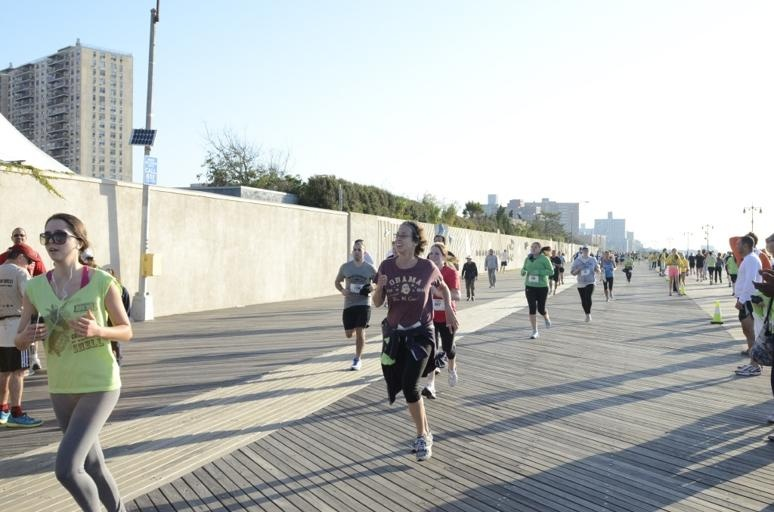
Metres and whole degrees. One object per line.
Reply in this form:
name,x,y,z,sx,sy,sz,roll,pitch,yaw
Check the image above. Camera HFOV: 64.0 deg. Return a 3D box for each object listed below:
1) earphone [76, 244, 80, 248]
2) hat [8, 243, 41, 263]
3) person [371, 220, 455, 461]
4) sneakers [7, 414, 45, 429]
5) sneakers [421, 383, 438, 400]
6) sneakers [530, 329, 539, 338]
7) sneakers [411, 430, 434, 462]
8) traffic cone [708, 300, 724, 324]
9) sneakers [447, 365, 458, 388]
earphone,-2.919,-0.101,5.843,0.034,0.039,0.009,-5,-1,-27
hat,-5.044,-0.067,8.682,0.303,0.288,0.464,3,-2,40
person,0.280,0.947,7.501,0.814,2.714,0.778,3,6,30
sneakers,-4.696,2.126,8.034,0.420,0.214,0.174,4,-1,-9
sneakers,0.606,1.963,8.850,0.112,0.342,0.158,-4,42,14
sneakers,3.280,1.725,13.756,0.116,0.162,0.377,-6,-8,18
sneakers,0.420,2.198,7.234,0.233,0.292,0.264,0,6,4
traffic cone,9.517,1.602,17.878,0.459,0.673,0.463,-1,1,22
sneakers,0.997,1.808,9.433,0.109,0.353,0.129,0,4,16
